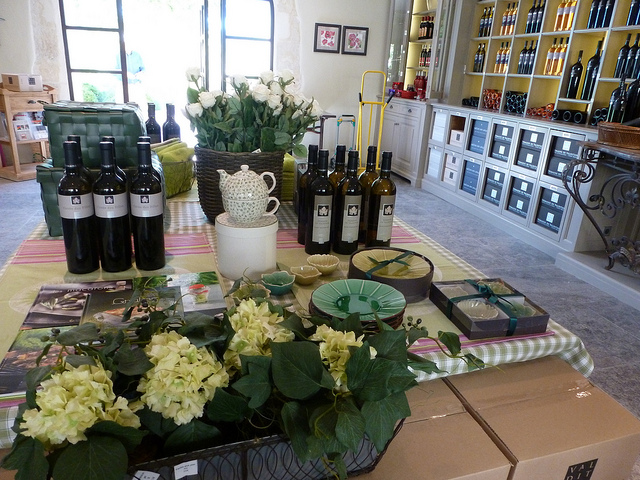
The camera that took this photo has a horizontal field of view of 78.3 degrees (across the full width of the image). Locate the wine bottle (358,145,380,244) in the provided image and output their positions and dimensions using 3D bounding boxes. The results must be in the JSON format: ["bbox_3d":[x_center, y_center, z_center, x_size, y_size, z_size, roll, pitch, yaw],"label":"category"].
[{"bbox_3d":[0.177,-0.180,1.539,0.068,0.369,0.104,2,25,-5],"label":"wine bottle"}]

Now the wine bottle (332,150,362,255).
[{"bbox_3d":[0.073,-0.143,1.449,0.108,0.358,0.123,5,20,-6],"label":"wine bottle"}]

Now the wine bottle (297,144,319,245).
[{"bbox_3d":[-0.033,-0.190,1.526,0.098,0.364,0.085,-4,27,-15],"label":"wine bottle"}]

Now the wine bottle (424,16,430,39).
[{"bbox_3d":[1.668,-3.289,6.100,0.070,0.231,0.063,0,23,2],"label":"wine bottle"}]

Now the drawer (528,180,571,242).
[{"bbox_3d":[2.247,-0.299,3.845,0.120,0.473,0.327,-7,20,-20],"label":"drawer"}]

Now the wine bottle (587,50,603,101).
[{"bbox_3d":[2.553,-1.531,3.638,0.046,0.423,0.201,14,27,30],"label":"wine bottle"}]

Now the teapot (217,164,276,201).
[{"bbox_3d":[-0.238,-0.180,1.283,0.185,0.110,0.129,1,10,-9],"label":"teapot"}]

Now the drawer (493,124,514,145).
[{"bbox_3d":[2.052,-1.191,4.382,0.048,0.205,0.206,-3,20,-41],"label":"drawer"}]

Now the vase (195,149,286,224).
[{"bbox_3d":[-0.326,-0.219,1.600,0.330,0.237,0.292,-3,13,-20],"label":"vase"}]

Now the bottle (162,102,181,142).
[{"bbox_3d":[-0.891,-0.702,2.317,0.103,0.223,0.305,-9,24,-19],"label":"bottle"}]

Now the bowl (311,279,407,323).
[{"bbox_3d":[0.090,0.142,1.109,0.273,0.080,0.224,-3,17,-11],"label":"bowl"}]

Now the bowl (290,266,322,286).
[{"bbox_3d":[-0.045,0.111,1.276,0.067,0.027,0.066,4,15,-1],"label":"bowl"}]

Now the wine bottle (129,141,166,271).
[{"bbox_3d":[-0.555,-0.110,1.247,0.105,0.390,0.092,-5,18,-30],"label":"wine bottle"}]

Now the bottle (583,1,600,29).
[{"bbox_3d":[2.551,-2.133,3.679,0.060,0.245,0.230,9,24,21],"label":"bottle"}]

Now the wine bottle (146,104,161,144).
[{"bbox_3d":[-0.959,-0.643,2.235,0.093,0.301,0.089,11,41,-9],"label":"wine bottle"}]

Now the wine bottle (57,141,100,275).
[{"bbox_3d":[-0.747,-0.101,1.191,0.105,0.387,0.090,-5,20,-31],"label":"wine bottle"}]

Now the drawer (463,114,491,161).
[{"bbox_3d":[2.047,-1.269,4.764,0.476,0.477,0.466,10,26,19],"label":"drawer"}]

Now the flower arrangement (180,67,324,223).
[{"bbox_3d":[-0.299,-0.378,1.836,0.610,0.662,0.642,4,11,16],"label":"flower arrangement"}]

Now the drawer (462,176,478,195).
[{"bbox_3d":[1.875,-0.705,4.891,0.048,0.184,0.203,0,19,-37],"label":"drawer"}]

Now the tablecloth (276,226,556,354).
[{"bbox_3d":[0.361,0.158,1.352,0.461,0.011,0.704,-4,19,-20],"label":"tablecloth"}]

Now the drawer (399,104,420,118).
[{"bbox_3d":[1.346,-1.949,5.852,0.192,0.147,0.331,-6,20,-24],"label":"drawer"}]

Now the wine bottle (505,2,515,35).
[{"bbox_3d":[2.240,-2.593,4.623,0.068,0.283,0.161,10,25,23],"label":"wine bottle"}]

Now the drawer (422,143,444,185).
[{"bbox_3d":[1.729,-1.090,5.541,0.363,0.474,0.380,-2,25,-9],"label":"drawer"}]

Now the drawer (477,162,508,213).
[{"bbox_3d":[2.011,-0.634,4.538,0.128,0.486,0.342,-15,30,-38],"label":"drawer"}]

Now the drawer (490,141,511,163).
[{"bbox_3d":[2.040,-1.009,4.433,0.056,0.216,0.236,3,17,-32],"label":"drawer"}]

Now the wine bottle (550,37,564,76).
[{"bbox_3d":[2.477,-1.900,4.111,0.066,0.278,0.098,8,24,18],"label":"wine bottle"}]

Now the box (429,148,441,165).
[{"bbox_3d":[1.611,-1.181,5.457,0.140,0.242,0.243,-2,13,-9],"label":"box"}]

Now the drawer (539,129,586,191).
[{"bbox_3d":[2.409,-0.825,3.758,0.247,0.490,0.355,-22,34,-23],"label":"drawer"}]

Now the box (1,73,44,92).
[{"bbox_3d":[-3.674,-1.944,4.821,0.345,0.221,0.355,13,19,28],"label":"box"}]

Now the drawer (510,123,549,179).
[{"bbox_3d":[2.143,-0.908,4.062,0.143,0.480,0.331,-4,19,-13],"label":"drawer"}]

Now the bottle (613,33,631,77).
[{"bbox_3d":[2.681,-1.642,3.454,0.077,0.362,0.305,15,27,32],"label":"bottle"}]

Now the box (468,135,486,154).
[{"bbox_3d":[1.910,-1.171,4.749,0.134,0.215,0.231,2,20,-19],"label":"box"}]

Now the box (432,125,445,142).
[{"bbox_3d":[1.636,-1.478,5.387,0.124,0.224,0.232,-1,23,-4],"label":"box"}]

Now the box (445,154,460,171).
[{"bbox_3d":[1.749,-1.031,5.135,0.131,0.166,0.240,-1,20,-5],"label":"box"}]

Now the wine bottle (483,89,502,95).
[{"bbox_3d":[2.176,-1.875,4.927,0.236,0.059,0.162,1,22,3],"label":"wine bottle"}]

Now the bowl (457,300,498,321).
[{"bbox_3d":[0.460,0.196,1.136,0.059,0.023,0.064,3,26,-1],"label":"bowl"}]

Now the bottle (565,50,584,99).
[{"bbox_3d":[2.506,-1.638,3.842,0.107,0.437,0.216,12,26,27],"label":"bottle"}]

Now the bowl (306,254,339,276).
[{"bbox_3d":[0.010,0.076,1.351,0.074,0.039,0.076,4,22,-2],"label":"bowl"}]

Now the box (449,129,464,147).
[{"bbox_3d":[1.776,-1.326,5.071,0.144,0.190,0.264,1,15,1],"label":"box"}]

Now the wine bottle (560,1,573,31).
[{"bbox_3d":[2.482,-2.274,3.943,0.067,0.256,0.058,14,27,29],"label":"wine bottle"}]

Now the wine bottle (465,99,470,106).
[{"bbox_3d":[1.984,-1.865,5.264,0.032,0.069,0.073,-11,25,-25],"label":"wine bottle"}]

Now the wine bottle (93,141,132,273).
[{"bbox_3d":[-0.654,-0.102,1.219,0.105,0.394,0.091,-5,20,-29],"label":"wine bottle"}]

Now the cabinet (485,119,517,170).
[{"bbox_3d":[2.040,-1.102,4.416,0.208,0.468,0.313,-2,20,-8],"label":"cabinet"}]

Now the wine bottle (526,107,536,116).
[{"bbox_3d":[2.321,-1.431,4.327,0.072,0.079,0.138,10,24,22],"label":"wine bottle"}]

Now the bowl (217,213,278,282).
[{"bbox_3d":[-0.235,0.017,1.339,0.196,0.178,0.207,1,17,0],"label":"bowl"}]
